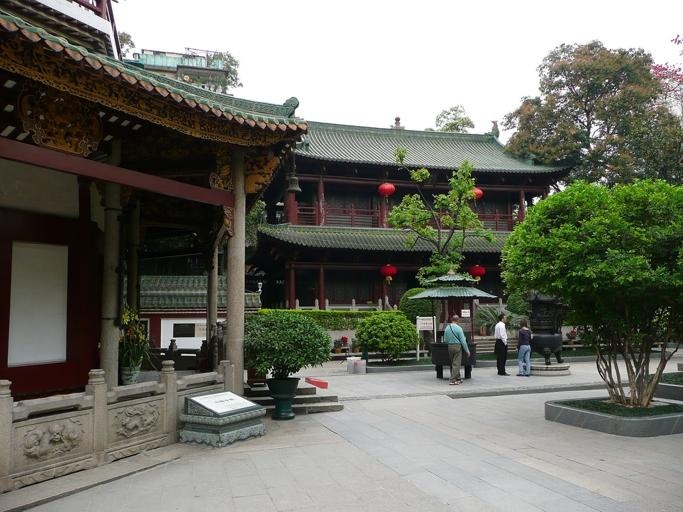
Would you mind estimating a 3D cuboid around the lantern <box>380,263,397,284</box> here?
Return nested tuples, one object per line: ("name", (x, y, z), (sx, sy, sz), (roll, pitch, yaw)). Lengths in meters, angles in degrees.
("lantern", (1.979, 0.708, 26.452), (0.737, 0.945, 0.739), (-3, -4, 6))

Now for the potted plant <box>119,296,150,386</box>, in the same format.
("potted plant", (-3.464, 1.499, 10.678), (0.446, 1.258, 0.672), (0, -9, -19))

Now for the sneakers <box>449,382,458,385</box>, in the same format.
("sneakers", (2.700, 3.053, 15.305), (0.184, 0.081, 0.073), (2, -3, -27))

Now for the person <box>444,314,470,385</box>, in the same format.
("person", (2.855, 2.301, 15.674), (0.577, 1.647, 0.962), (-4, -9, 10))

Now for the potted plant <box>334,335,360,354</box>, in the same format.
("potted plant", (0.112, 3.070, 21.803), (0.774, 0.514, 0.704), (2, -17, -9))

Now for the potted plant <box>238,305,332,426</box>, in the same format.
("potted plant", (-1.014, 1.922, 11.451), (1.814, 1.864, 1.653), (2, -14, -13))

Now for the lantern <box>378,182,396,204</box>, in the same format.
("lantern", (2.004, -2.710, 26.942), (0.715, 0.827, 0.728), (1, 3, -14))

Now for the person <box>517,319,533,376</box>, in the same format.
("person", (4.818, 2.446, 16.889), (0.398, 1.447, 1.285), (-5, -9, 14))

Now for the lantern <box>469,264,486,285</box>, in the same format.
("lantern", (5.565, 0.718, 26.132), (0.864, 1.023, 0.903), (1, -2, -3))
